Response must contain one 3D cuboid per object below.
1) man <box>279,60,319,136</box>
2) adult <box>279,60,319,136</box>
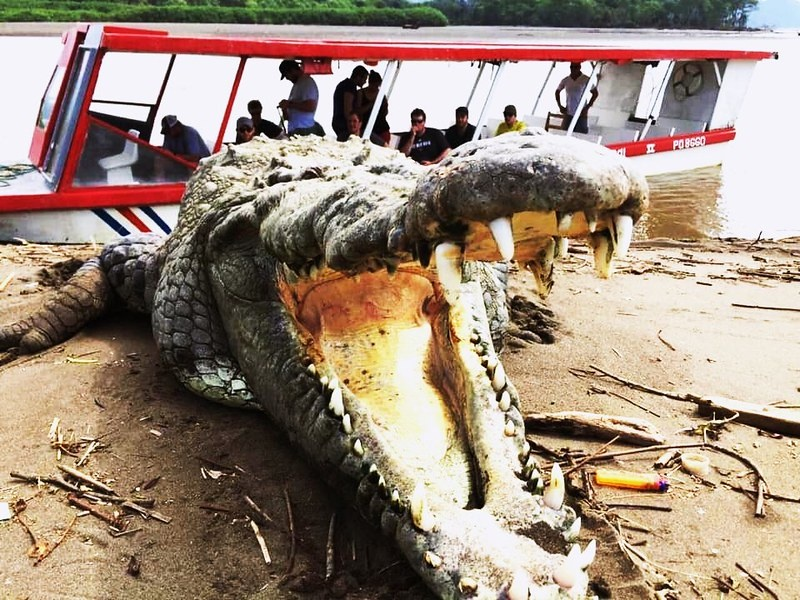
[{"bbox_3d":[-1.108,-2.304,8.780,0.564,0.788,0.712,-1,18,-24],"label":"man"},{"bbox_3d":[-1.185,-2.303,8.744,0.534,0.788,0.759,9,16,11],"label":"adult"}]
